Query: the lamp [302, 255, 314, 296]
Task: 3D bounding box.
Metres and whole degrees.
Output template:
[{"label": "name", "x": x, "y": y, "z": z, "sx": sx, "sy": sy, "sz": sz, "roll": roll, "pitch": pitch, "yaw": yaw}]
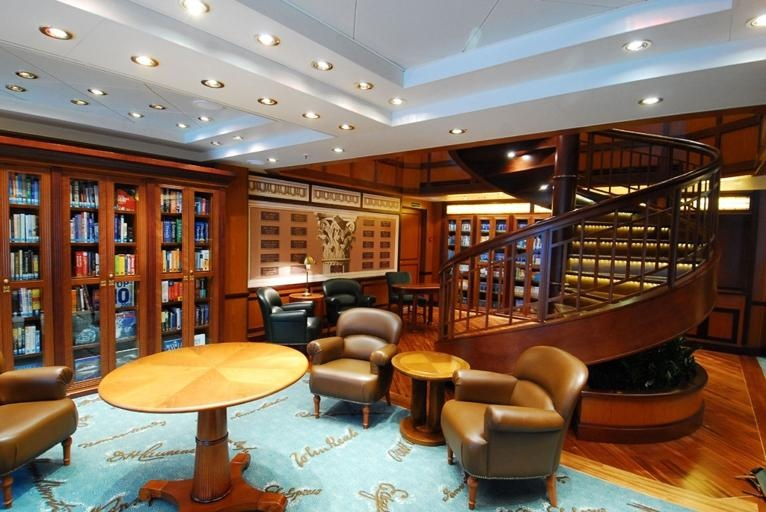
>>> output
[{"label": "lamp", "x": -1.266, "y": 0.314, "z": 8.451, "sx": 0.172, "sy": 0.639, "sz": 0.666, "roll": -4, "pitch": 2, "yaw": -8}]
